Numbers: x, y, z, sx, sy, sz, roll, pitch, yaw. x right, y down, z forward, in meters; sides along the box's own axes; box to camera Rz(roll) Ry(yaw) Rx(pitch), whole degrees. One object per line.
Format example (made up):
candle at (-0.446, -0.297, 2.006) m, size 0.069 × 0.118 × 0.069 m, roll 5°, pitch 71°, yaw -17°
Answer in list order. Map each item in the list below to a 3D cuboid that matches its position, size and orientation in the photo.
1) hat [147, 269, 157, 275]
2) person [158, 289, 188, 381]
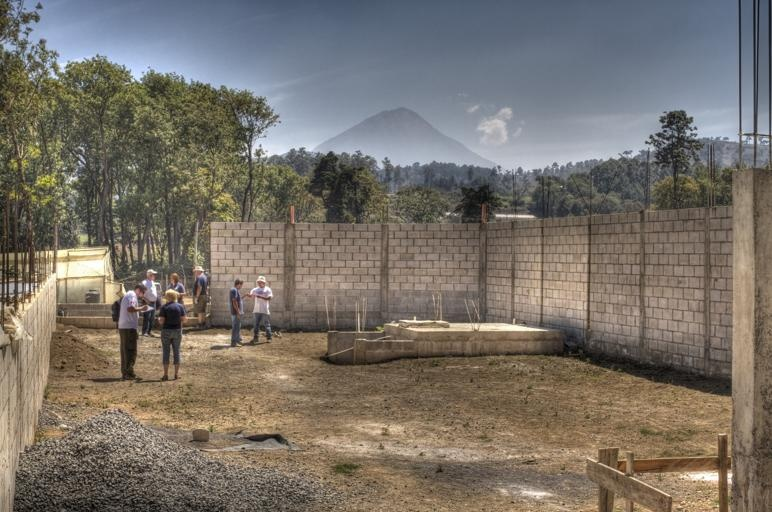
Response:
hat at (-8.850, 0.613, 31.735) m, size 0.567 × 0.242 × 0.372 m, roll 2°, pitch 0°, yaw -27°
person at (-5.823, 2.131, 22.845) m, size 0.685 × 2.491 × 0.848 m, roll -3°, pitch 10°, yaw -16°
